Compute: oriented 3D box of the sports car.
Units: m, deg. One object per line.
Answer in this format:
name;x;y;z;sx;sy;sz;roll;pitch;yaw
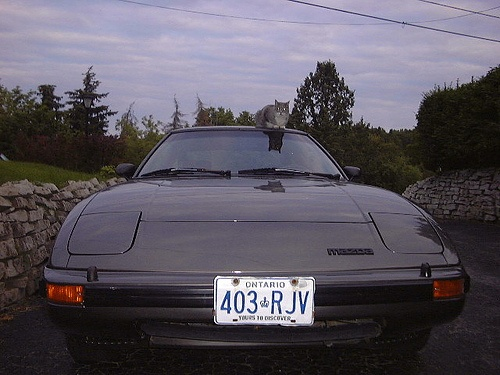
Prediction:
sports car;0.015;0.331;3.178;2.535;1.836;2.000;0;2;-4
